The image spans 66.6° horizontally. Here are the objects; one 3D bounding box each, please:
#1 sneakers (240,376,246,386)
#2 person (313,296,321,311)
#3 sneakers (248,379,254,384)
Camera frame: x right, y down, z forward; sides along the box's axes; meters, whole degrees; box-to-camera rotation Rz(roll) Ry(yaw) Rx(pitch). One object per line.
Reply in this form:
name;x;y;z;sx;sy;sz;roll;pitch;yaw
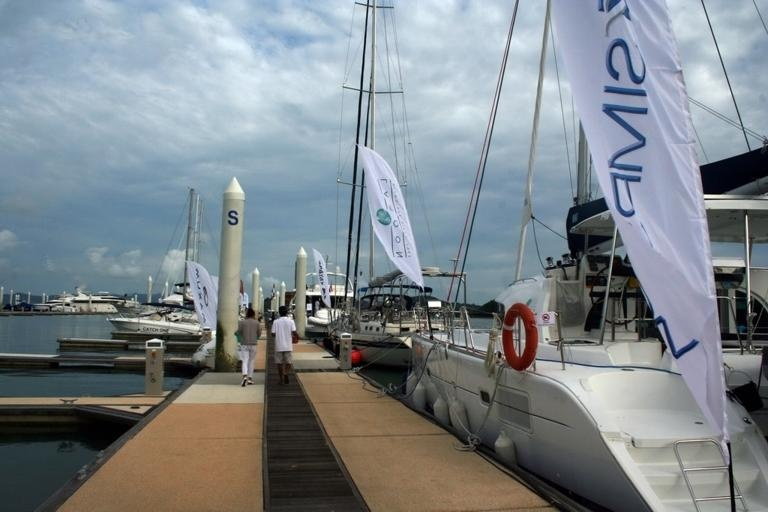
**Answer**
sneakers;-2.990;2.691;12.477;0.105;0.273;0.104;4;9;-37
person;-4.910;3.516;43.185;0.694;0.971;0.909;6;-6;-39
sneakers;-2.905;2.730;12.652;0.099;0.124;0.222;-21;-8;-4
